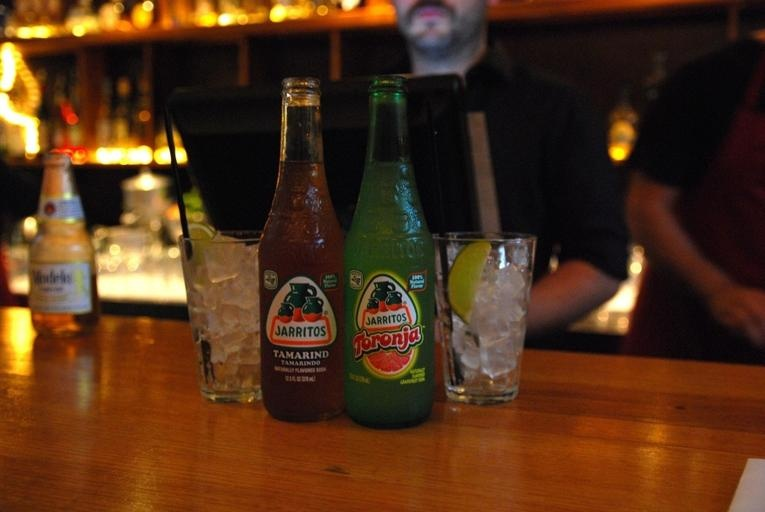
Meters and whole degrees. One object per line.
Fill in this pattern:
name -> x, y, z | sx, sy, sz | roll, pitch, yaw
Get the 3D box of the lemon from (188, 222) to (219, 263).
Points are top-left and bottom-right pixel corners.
lemon -> -0.253, -0.027, 0.950 | 0.051, 0.042, 0.015 | -25, -24, 12
